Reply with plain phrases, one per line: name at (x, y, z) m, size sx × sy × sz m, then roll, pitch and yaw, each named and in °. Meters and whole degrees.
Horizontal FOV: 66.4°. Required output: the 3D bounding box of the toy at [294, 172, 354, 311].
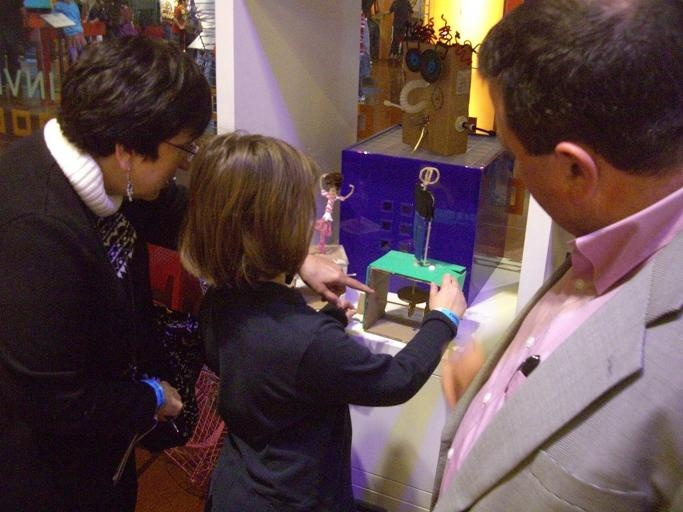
toy at (-0.053, -0.087, 2.005) m, size 0.180 × 0.440 × 0.187 m, roll 9°, pitch -9°, yaw -20°

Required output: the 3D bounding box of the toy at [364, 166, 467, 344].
toy at (0.236, 0.018, 1.829) m, size 0.240 × 0.476 × 0.250 m, roll 6°, pitch 1°, yaw -40°

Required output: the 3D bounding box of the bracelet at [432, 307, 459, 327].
bracelet at (0.275, 0.173, 1.378) m, size 0.050 × 0.021 × 0.049 m, roll 34°, pitch -3°, yaw -25°

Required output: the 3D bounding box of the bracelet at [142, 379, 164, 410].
bracelet at (-0.479, 0.351, 1.365) m, size 0.063 × 0.070 × 0.049 m, roll 13°, pitch 9°, yaw 20°
